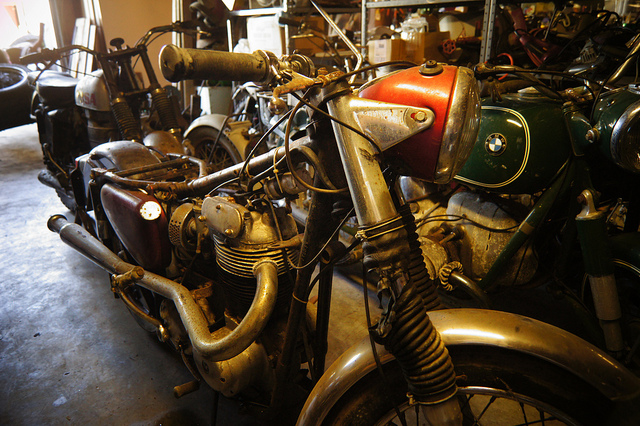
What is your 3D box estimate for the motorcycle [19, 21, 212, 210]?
[{"bbox_3d":[-1.619,-0.907,4.343,1.905,1.229,1.224,26,39,36],"label":"motorcycle"}]
